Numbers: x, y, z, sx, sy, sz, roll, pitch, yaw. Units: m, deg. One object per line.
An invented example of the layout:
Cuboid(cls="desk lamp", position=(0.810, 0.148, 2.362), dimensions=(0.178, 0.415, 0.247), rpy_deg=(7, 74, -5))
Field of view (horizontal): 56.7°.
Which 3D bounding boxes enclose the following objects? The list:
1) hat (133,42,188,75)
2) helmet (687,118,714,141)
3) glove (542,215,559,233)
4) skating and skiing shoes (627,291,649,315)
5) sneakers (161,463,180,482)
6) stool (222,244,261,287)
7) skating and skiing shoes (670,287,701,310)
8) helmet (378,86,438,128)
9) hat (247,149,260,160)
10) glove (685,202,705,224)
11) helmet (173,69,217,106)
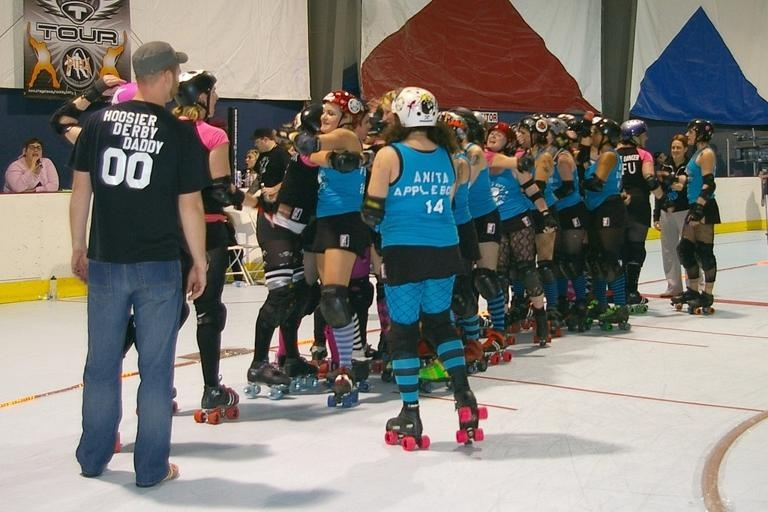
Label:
Cuboid(cls="hat", position=(-1.689, -1.465, 5.411), dimensions=(0.248, 0.169, 0.350), rpy_deg=(17, 36, 31))
Cuboid(cls="helmet", position=(4.543, -1.791, 10.205), dimensions=(0.278, 0.342, 0.351), rpy_deg=(-11, 22, -43))
Cuboid(cls="glove", position=(2.042, -0.385, 8.824), dimensions=(0.183, 0.162, 0.286), rpy_deg=(-15, 6, 1))
Cuboid(cls="skating and skiing shoes", position=(3.667, 0.690, 10.293), dimensions=(0.175, 0.224, 0.537), rpy_deg=(2, 3, 35))
Cuboid(cls="sneakers", position=(-1.647, 1.668, 5.498), dimensions=(0.059, 0.066, 0.162), rpy_deg=(7, 7, 19))
Cuboid(cls="stool", position=(-2.850, 0.039, 14.115), dimensions=(0.516, 0.679, 0.503), rpy_deg=(20, -7, -35))
Cuboid(cls="skating and skiing shoes", position=(4.457, 0.648, 10.405), dimensions=(0.208, 0.275, 0.591), rpy_deg=(13, 3, 40))
Cuboid(cls="helmet", position=(0.202, -1.227, 5.918), dimensions=(0.290, 0.266, 0.384), rpy_deg=(-14, 15, -40))
Cuboid(cls="hat", position=(-2.600, -1.987, 14.032), dimensions=(0.208, 0.248, 0.260), rpy_deg=(-3, -18, 5))
Cuboid(cls="glove", position=(4.394, -0.576, 10.092), dimensions=(0.205, 0.279, 0.120), rpy_deg=(30, -5, 19))
Cuboid(cls="helmet", position=(-1.634, -1.448, 6.205), dimensions=(0.348, 0.261, 0.252), rpy_deg=(-31, 25, 2))
